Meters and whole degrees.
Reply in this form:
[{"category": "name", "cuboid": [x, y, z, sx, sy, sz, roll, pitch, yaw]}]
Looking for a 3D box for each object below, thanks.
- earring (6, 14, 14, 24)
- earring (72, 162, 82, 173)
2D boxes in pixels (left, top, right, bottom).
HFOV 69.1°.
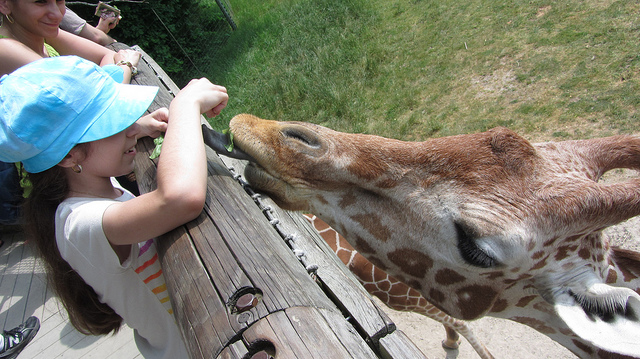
[{"category": "earring", "cuboid": [-3.606, -1.872, 5.402, 0.057, 0.089, 0.085, -41, 56, -9]}, {"category": "earring", "cuboid": [-2.321, -0.100, 4.463, 0.079, 0.093, 0.037, -29, 55, -1]}]
